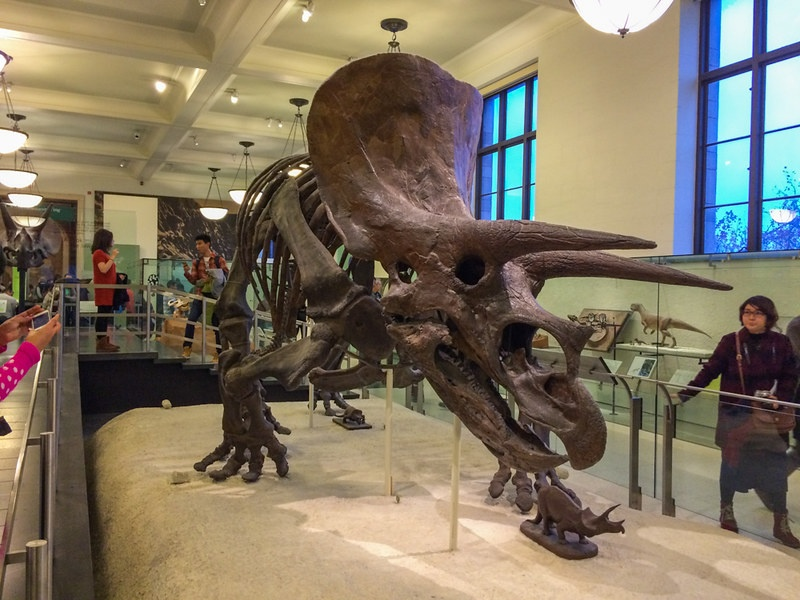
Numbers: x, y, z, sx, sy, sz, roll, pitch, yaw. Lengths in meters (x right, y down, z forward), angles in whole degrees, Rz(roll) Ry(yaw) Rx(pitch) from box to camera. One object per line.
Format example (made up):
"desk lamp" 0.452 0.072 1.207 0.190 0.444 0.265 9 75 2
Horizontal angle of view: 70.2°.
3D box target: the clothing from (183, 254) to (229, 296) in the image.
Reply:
"clothing" -3.063 -0.380 8.958 0.824 0.887 0.624 -3 -1 -14

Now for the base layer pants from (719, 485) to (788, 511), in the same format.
"base layer pants" 2.526 1.411 4.073 0.136 0.160 0.400 0 -8 -16

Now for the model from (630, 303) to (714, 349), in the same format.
"model" 2.224 0.231 4.744 0.162 0.297 0.759 -1 10 -32
